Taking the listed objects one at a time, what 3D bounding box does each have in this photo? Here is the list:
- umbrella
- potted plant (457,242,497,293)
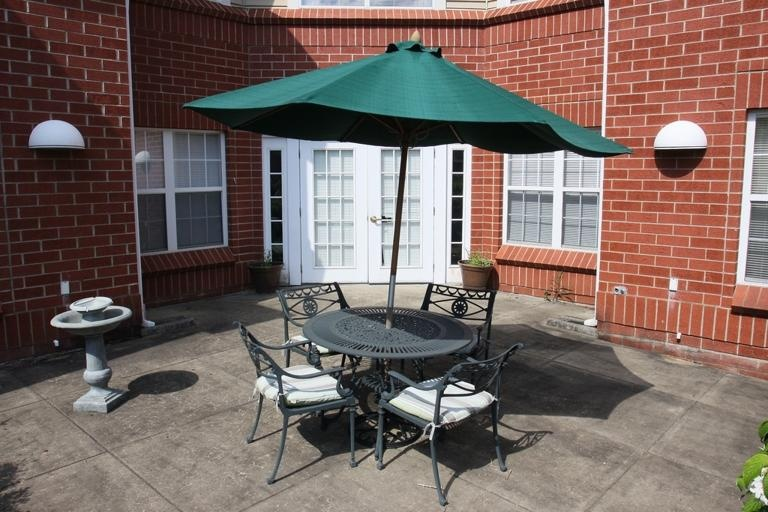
[{"bbox_3d":[0.183,-0.770,5.422,3.507,3.059,2.980,8,15,37],"label":"umbrella"},{"bbox_3d":[1.832,0.269,10.022,1.004,0.786,0.874,1,2,24],"label":"potted plant"}]
